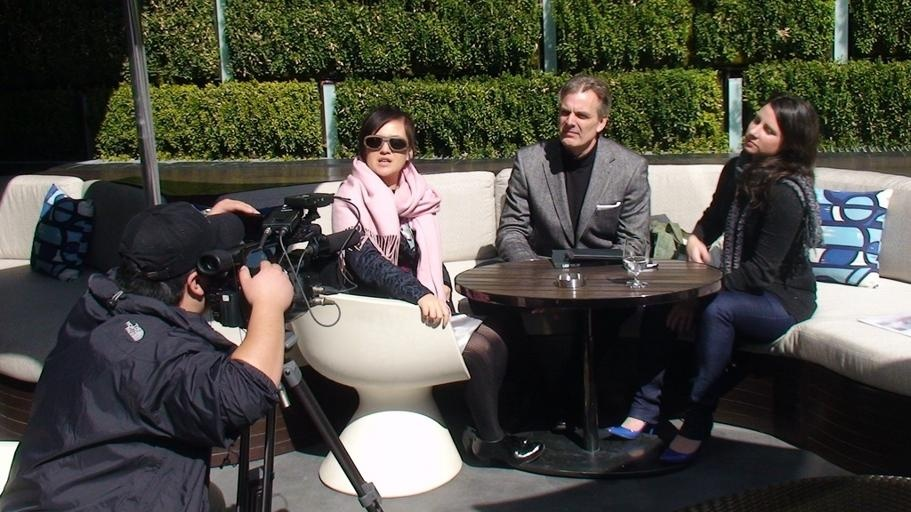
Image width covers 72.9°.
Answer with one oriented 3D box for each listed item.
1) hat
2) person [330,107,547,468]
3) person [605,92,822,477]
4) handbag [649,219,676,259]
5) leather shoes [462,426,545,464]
[{"bbox_3d":[-1.155,-0.094,2.727,0.307,0.182,0.480,21,30,35],"label":"hat"},{"bbox_3d":[-0.217,0.153,3.900,0.947,2.168,1.217,-10,16,-26],"label":"person"},{"bbox_3d":[1.742,0.082,3.925,1.417,2.141,0.786,-14,18,-39],"label":"person"},{"bbox_3d":[1.519,-0.123,4.619,0.235,0.290,0.108,18,-21,-8],"label":"handbag"},{"bbox_3d":[0.301,1.157,3.843,0.494,0.197,0.190,-3,21,10],"label":"leather shoes"}]
